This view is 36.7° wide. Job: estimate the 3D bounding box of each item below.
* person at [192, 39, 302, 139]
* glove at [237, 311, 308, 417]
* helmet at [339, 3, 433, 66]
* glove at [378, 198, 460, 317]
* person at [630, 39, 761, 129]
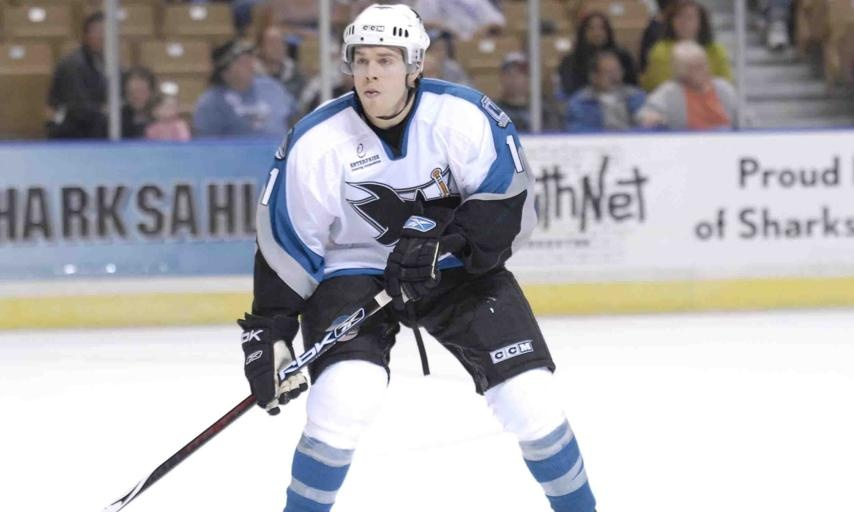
[{"bbox_3d":[-1.392,-1.248,9.778,0.966,0.873,0.518,-9,1,-19],"label":"person"},{"bbox_3d":[-0.802,0.558,6.627,0.438,0.487,0.145,-9,9,-29],"label":"glove"},{"bbox_3d":[-0.220,-1.179,6.666,0.333,0.319,0.376,3,17,9],"label":"helmet"},{"bbox_3d":[-0.047,-0.034,6.641,0.374,0.592,0.192,12,-21,48],"label":"glove"},{"bbox_3d":[2.042,-1.238,9.962,1.052,0.814,0.611,-4,8,-10],"label":"person"}]
